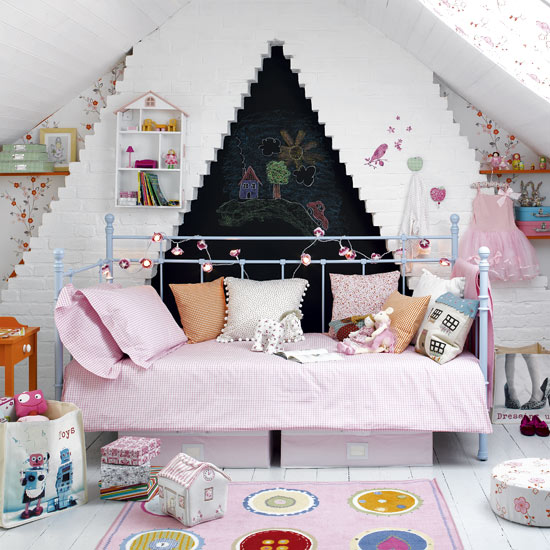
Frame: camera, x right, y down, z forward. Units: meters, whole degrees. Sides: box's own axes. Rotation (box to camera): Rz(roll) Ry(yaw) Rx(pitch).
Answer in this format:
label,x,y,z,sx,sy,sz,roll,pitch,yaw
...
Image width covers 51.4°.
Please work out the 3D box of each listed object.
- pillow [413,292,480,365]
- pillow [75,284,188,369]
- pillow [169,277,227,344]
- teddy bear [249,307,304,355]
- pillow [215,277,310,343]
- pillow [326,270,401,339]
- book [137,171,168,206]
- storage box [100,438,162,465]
label,x,y,z,sx,sy,sz,roll,pitch,yaw
pillow,0.765,0.245,2.544,0.199,0.274,0.316,9,4,-15
pillow,-0.626,0.207,2.524,0.095,0.344,0.381,-37,1,16
pillow,-0.427,0.193,3.115,0.224,0.285,0.374,30,20,28
teddy bear,0.017,0.270,2.871,0.227,0.144,0.423,9,9,25
pillow,-0.084,0.186,2.996,0.429,0.268,0.131,1,-36,0
pillow,0.499,0.127,3.165,0.425,0.301,0.140,-4,-11,-11
book,-0.721,-0.495,3.306,0.078,0.193,0.171,-8,2,6
storage box,-0.557,0.702,2.231,0.164,0.111,0.182,0,4,16
